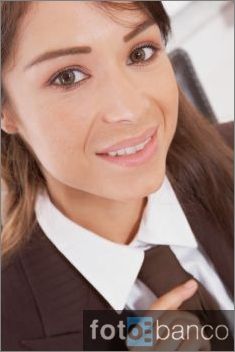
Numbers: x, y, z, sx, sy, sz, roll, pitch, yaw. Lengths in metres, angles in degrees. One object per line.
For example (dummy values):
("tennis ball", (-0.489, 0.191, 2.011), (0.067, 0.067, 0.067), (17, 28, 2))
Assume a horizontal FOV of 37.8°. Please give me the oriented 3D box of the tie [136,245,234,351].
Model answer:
("tie", (0.221, 0.379, 1.012), (0.104, 0.442, 0.131), (-27, 27, 50))
